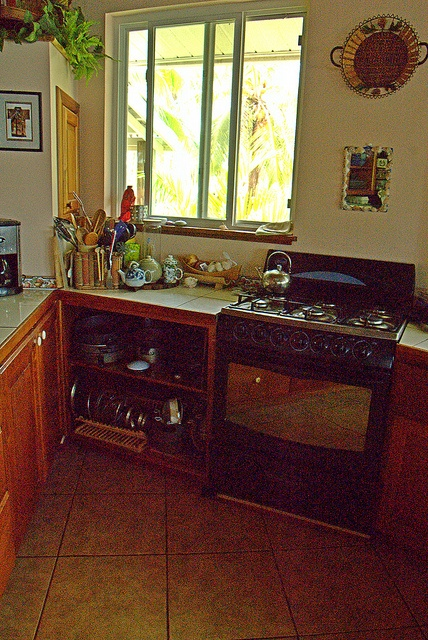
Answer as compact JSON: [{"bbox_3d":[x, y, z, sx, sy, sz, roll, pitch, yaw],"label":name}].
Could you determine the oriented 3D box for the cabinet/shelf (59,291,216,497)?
[{"bbox_3d":[-0.347,0.300,2.517,0.867,0.875,0.294,9,23,19],"label":"cabinet/shelf"}]

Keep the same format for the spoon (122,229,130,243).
[{"bbox_3d":[-0.432,-0.417,2.419,0.027,0.068,0.071,8,14,25],"label":"spoon"}]

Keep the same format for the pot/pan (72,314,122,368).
[{"bbox_3d":[-0.580,0.092,2.484,0.234,0.192,0.291,-1,13,-17],"label":"pot/pan"}]

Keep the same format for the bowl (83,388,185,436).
[{"bbox_3d":[-0.413,0.422,2.420,0.344,0.109,0.249,17,11,14],"label":"bowl"}]

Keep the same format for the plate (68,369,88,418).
[{"bbox_3d":[-0.673,0.386,2.492,0.064,0.184,0.164,2,-9,5],"label":"plate"}]

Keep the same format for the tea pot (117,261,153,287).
[{"bbox_3d":[-0.382,-0.225,2.431,0.119,0.113,0.180,7,13,17],"label":"tea pot"}]

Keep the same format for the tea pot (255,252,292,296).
[{"bbox_3d":[0.288,-0.218,2.217,0.133,0.194,0.137,4,8,-1],"label":"tea pot"}]

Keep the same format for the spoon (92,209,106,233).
[{"bbox_3d":[-0.564,-0.487,2.441,0.042,0.149,0.021,10,16,11],"label":"spoon"}]

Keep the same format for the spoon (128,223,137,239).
[{"bbox_3d":[-0.410,-0.449,2.490,0.016,0.068,0.067,-5,9,-4],"label":"spoon"}]

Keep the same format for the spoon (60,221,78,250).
[{"bbox_3d":[-0.684,-0.409,2.349,0.036,0.157,0.022,-25,26,-10],"label":"spoon"}]

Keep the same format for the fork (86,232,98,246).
[{"bbox_3d":[-0.586,-0.390,2.368,0.044,0.046,0.010,-11,34,0],"label":"fork"}]

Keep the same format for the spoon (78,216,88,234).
[{"bbox_3d":[-0.639,-0.464,2.419,0.051,0.074,0.148,-1,13,-15],"label":"spoon"}]

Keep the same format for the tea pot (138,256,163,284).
[{"bbox_3d":[-0.315,-0.256,2.551,0.112,0.139,0.117,-7,25,3],"label":"tea pot"}]

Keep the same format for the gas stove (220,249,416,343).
[{"bbox_3d":[0.450,-0.134,2.047,0.703,0.226,0.654,8,14,23],"label":"gas stove"}]

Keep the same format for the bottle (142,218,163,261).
[{"bbox_3d":[-0.330,-0.426,2.645,0.131,0.247,0.134,3,26,-1],"label":"bottle"}]
